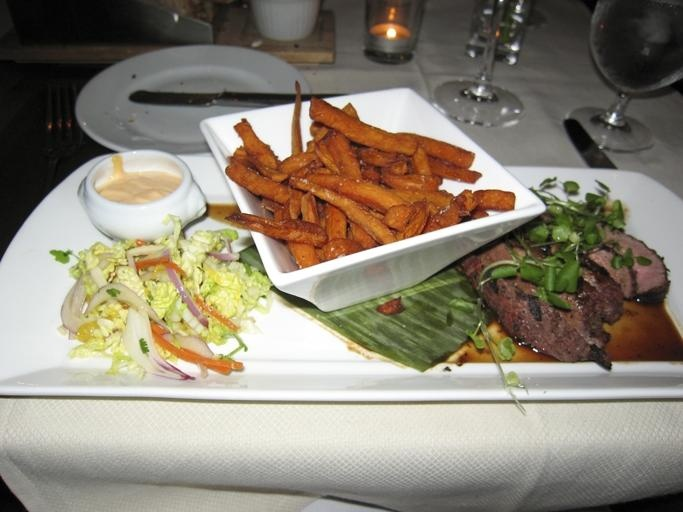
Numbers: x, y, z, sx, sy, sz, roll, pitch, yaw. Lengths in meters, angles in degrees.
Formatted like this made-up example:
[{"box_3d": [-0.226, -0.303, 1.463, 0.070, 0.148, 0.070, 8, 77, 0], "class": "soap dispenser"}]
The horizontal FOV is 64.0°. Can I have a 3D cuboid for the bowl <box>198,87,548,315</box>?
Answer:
[{"box_3d": [0.042, -0.199, 1.414, 0.698, 0.306, 0.686, 2, 45, -2], "class": "bowl"}]

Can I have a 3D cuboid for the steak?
[{"box_3d": [0.543, 0.093, 1.346, 0.398, 0.080, 0.448, -29, 43, -7], "class": "steak"}]

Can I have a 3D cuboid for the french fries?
[{"box_3d": [0.020, -0.164, 1.314, 0.547, 0.176, 0.521, -16, 43, -21], "class": "french fries"}]
